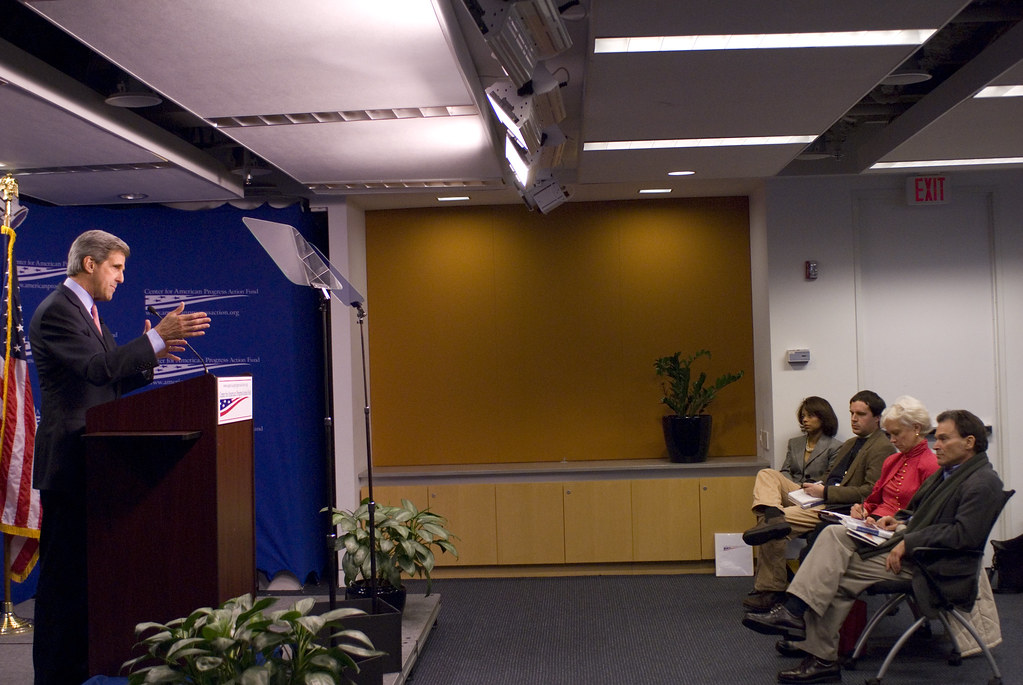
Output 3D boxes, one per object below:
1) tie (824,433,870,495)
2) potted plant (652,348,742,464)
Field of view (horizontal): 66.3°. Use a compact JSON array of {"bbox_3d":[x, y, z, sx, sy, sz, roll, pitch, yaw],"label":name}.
[{"bbox_3d":[2.768,0.985,6.383,0.138,0.412,0.294,18,13,-27],"label":"tie"},{"bbox_3d":[1.609,0.626,7.607,0.971,1.134,0.943,-2,-4,9],"label":"potted plant"}]
